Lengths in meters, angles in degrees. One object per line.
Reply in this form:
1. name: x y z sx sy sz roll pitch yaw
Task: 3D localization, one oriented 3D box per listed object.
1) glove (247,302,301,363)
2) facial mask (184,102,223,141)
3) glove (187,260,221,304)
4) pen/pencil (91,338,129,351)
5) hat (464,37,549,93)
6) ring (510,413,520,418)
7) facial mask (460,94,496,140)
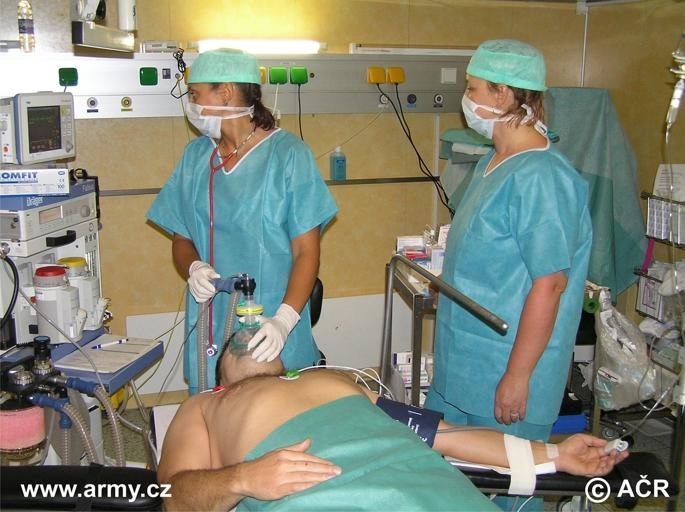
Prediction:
1. glove: -0.252 0.270 2.172 0.121 0.188 0.049 35 -29 -10
2. facial mask: -0.562 -0.544 2.481 0.135 0.080 0.142 -14 45 -15
3. glove: -0.536 0.091 2.362 0.068 0.127 0.167 -24 36 8
4. pen/pencil: -1.069 0.403 2.782 0.025 0.024 0.151 -24 -6 34
5. hat: 0.639 -0.722 2.375 0.336 0.171 0.354 20 16 32
6. ring: 0.625 0.580 2.222 0.020 0.011 0.022 1 -3 0
7. facial mask: 0.513 -0.532 2.331 0.139 0.127 0.125 9 26 12
